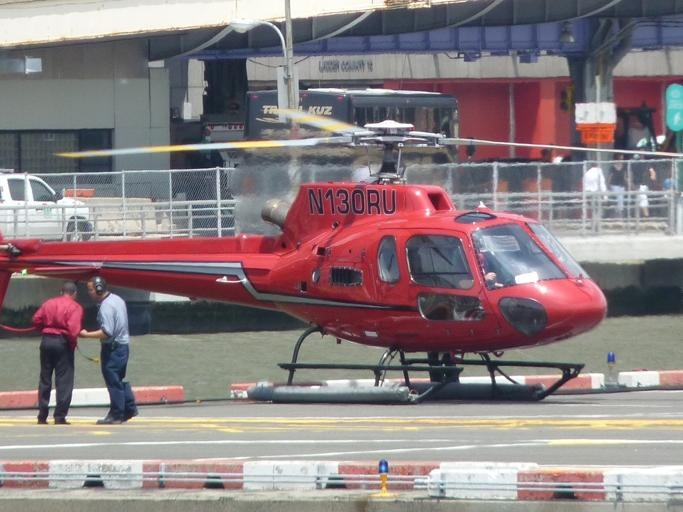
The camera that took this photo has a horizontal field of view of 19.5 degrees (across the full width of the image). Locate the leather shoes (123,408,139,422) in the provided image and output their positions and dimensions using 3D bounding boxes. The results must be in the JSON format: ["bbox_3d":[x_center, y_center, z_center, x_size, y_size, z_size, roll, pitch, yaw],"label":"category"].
[{"bbox_3d":[-5.533,4.159,51.856,0.444,0.172,0.257,-24,4,11],"label":"leather shoes"}]

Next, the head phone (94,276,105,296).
[{"bbox_3d":[-6.341,0.808,51.882,0.182,0.367,0.439,-9,9,7],"label":"head phone"}]

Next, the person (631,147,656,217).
[{"bbox_3d":[9.842,-2.343,64.994,0.738,2.286,0.845,-12,21,-20],"label":"person"}]

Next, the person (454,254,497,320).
[{"bbox_3d":[3.438,0.772,51.595,0.942,1.701,0.871,-8,13,-21],"label":"person"}]

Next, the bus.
[{"bbox_3d":[0.814,-4.610,68.747,6.554,2.632,3.530,-2,5,-16],"label":"bus"}]

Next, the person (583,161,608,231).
[{"bbox_3d":[8.228,-1.952,64.762,0.613,2.193,0.748,4,22,7],"label":"person"}]

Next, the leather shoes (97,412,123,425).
[{"bbox_3d":[-6.025,4.270,51.710,0.676,0.247,0.271,3,-2,9],"label":"leather shoes"}]
